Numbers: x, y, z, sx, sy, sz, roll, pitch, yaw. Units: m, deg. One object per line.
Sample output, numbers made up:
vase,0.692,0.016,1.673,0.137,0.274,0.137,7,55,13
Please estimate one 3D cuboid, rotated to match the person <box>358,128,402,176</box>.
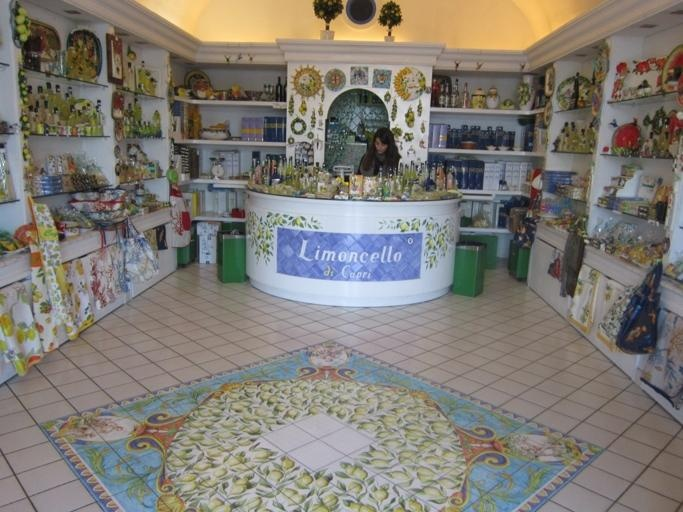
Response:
person,0.643,-1.697,7.370,0.806,0.848,0.493,15,27,24
